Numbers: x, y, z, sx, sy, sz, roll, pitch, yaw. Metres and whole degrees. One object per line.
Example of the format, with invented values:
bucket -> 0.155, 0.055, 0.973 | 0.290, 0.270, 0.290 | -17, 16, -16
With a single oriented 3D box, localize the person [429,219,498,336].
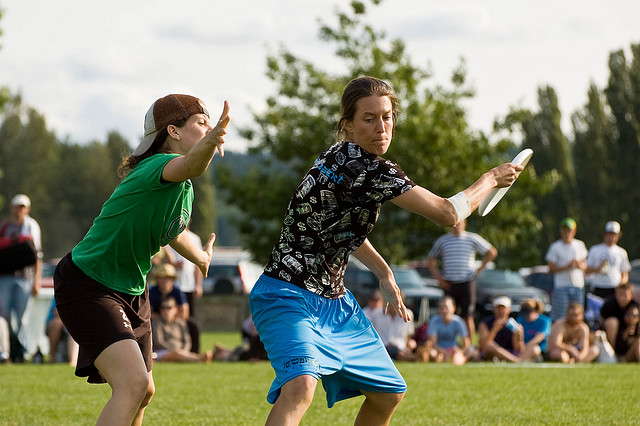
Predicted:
person -> 3.250, 1.514, 24.995 | 1.541, 3.142, 0.781 | -1, 12, 17

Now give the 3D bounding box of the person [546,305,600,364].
person -> 5.322, 2.541, 23.068 | 1.042, 1.173, 0.709 | 2, -6, 8

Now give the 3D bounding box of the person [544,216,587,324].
person -> 5.595, 1.523, 24.417 | 0.948, 2.799, 0.811 | -5, 12, -2

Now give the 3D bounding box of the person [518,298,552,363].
person -> 4.661, 2.516, 23.564 | 0.569, 1.323, 0.598 | 2, -5, -2

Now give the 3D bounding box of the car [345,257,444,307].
car -> 1.989, 2.048, 31.851 | 2.634, 1.523, 1.557 | -4, -4, 33

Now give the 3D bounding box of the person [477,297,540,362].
person -> 3.949, 2.507, 23.573 | 1.053, 1.416, 1.357 | 1, -2, -24

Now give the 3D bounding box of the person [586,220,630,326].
person -> 6.457, 1.313, 24.263 | 0.700, 2.532, 0.913 | 1, -1, 5

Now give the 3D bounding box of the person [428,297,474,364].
person -> 2.798, 2.600, 23.886 | 1.033, 1.447, 1.052 | 1, 2, 44
